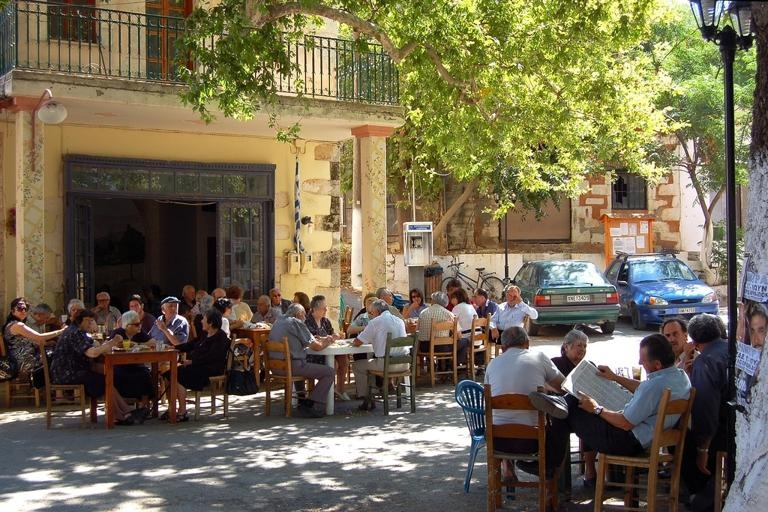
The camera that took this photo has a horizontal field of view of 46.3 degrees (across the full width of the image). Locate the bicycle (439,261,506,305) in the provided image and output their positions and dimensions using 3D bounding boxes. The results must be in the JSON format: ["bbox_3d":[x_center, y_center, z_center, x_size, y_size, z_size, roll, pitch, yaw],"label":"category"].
[{"bbox_3d":[2.662,0.696,27.931,2.227,1.480,1.166,9,1,12],"label":"bicycle"}]

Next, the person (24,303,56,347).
[{"bbox_3d":[-5.691,1.295,14.829,0.520,1.020,0.421,1,-4,-10],"label":"person"}]

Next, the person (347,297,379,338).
[{"bbox_3d":[-0.248,0.999,16.160,0.358,0.294,0.927,-15,-38,-2],"label":"person"}]

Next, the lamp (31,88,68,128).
[{"bbox_3d":[-5.676,-2.525,15.211,0.444,0.636,0.787,-1,-3,-29],"label":"lamp"}]

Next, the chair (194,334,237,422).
[{"bbox_3d":[-2.601,1.936,14.228,0.588,0.822,0.601,-8,-10,-40],"label":"chair"}]

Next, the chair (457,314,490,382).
[{"bbox_3d":[1.571,1.617,16.234,0.723,1.094,0.796,-2,-2,-7],"label":"chair"}]

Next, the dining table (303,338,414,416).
[{"bbox_3d":[-0.589,2.119,14.343,1.037,0.822,1.532,1,-4,-17],"label":"dining table"}]

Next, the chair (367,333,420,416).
[{"bbox_3d":[0.150,1.857,14.471,0.684,1.303,0.748,1,-1,-29],"label":"chair"}]

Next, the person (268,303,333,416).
[{"bbox_3d":[-1.278,1.619,14.206,0.987,1.744,0.791,-3,-2,3],"label":"person"}]

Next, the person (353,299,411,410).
[{"bbox_3d":[-0.034,1.581,14.597,0.794,1.768,0.908,-2,2,-41],"label":"person"}]

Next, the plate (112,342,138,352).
[{"bbox_3d":[-3.913,1.356,13.613,0.210,0.090,0.219,1,-2,20],"label":"plate"}]

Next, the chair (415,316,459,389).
[{"bbox_3d":[0.927,1.685,15.911,0.735,1.157,0.724,3,-7,-44],"label":"chair"}]

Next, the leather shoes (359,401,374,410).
[{"bbox_3d":[-0.271,2.381,14.379,0.208,0.217,0.144,1,-4,0],"label":"leather shoes"}]

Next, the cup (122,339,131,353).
[{"bbox_3d":[-3.878,1.349,13.603,0.123,0.146,0.126,-2,8,0],"label":"cup"}]

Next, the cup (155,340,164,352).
[{"bbox_3d":[-3.400,1.348,13.612,0.128,0.152,0.129,-1,-8,0],"label":"cup"}]

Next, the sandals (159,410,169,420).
[{"bbox_3d":[-3.437,2.482,14.087,0.115,0.140,0.353,4,-1,-15],"label":"sandals"}]

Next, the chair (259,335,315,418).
[{"bbox_3d":[-1.485,1.889,14.259,0.698,1.219,0.792,-2,-3,26],"label":"chair"}]

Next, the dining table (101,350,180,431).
[{"bbox_3d":[-3.614,1.933,13.445,1.049,1.097,1.076,1,-3,-25],"label":"dining table"}]

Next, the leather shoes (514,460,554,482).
[{"bbox_3d":[1.809,2.531,10.623,0.498,0.214,0.171,15,7,30],"label":"leather shoes"}]

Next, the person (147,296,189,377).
[{"bbox_3d":[-3.499,1.337,14.669,0.848,0.713,1.930,-5,27,-14],"label":"person"}]

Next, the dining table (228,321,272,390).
[{"bbox_3d":[-2.234,1.652,14.728,1.151,1.176,0.892,1,-4,-10],"label":"dining table"}]

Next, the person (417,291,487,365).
[{"bbox_3d":[1.289,1.284,16.204,0.685,1.383,0.781,-6,9,3],"label":"person"}]

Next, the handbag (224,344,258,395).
[{"bbox_3d":[-2.185,1.798,14.040,0.386,0.835,0.594,2,-2,37],"label":"handbag"}]

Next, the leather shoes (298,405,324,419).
[{"bbox_3d":[-1.135,2.408,13.934,0.266,0.116,0.209,3,-8,25],"label":"leather shoes"}]

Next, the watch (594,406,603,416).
[{"bbox_3d":[2.431,1.729,10.131,0.105,0.108,0.071,-2,22,5],"label":"watch"}]

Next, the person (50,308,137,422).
[{"bbox_3d":[-4.490,1.476,13.574,1.037,1.354,0.447,-3,-2,14],"label":"person"}]

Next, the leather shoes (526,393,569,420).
[{"bbox_3d":[1.847,1.691,10.160,0.301,0.118,0.219,27,17,6],"label":"leather shoes"}]

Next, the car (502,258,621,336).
[{"bbox_3d":[4.253,0.999,20.635,1.501,1.192,2.665,-3,6,-10],"label":"car"}]
